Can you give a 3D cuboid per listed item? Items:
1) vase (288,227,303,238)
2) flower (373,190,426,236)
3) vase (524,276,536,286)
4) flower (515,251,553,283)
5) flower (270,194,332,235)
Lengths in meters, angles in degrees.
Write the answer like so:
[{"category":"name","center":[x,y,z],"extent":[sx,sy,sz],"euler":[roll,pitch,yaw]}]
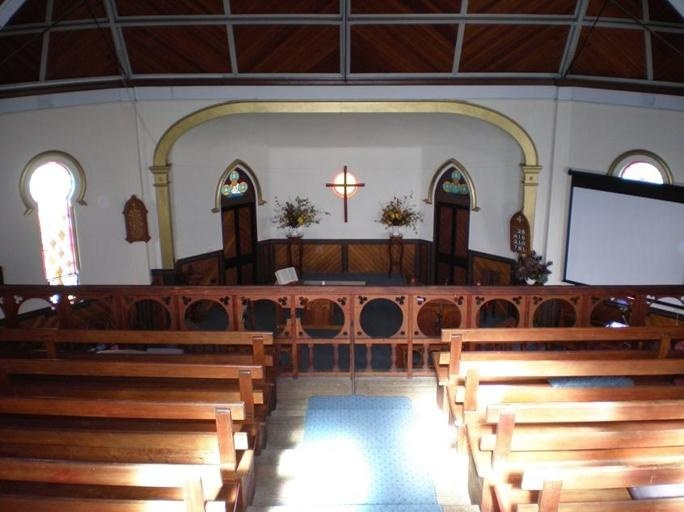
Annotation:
[{"category":"vase","center":[-1.115,-0.579,12.868],"extent":[0.387,0.255,0.651],"euler":[0,2,-3]},{"category":"flower","center":[1.394,-1.068,13.034],"extent":[0.901,0.993,0.942],"euler":[-2,9,-22]},{"category":"vase","center":[3.301,0.440,9.458],"extent":[0.198,0.168,0.213],"euler":[-4,15,0]},{"category":"flower","center":[3.290,0.202,9.378],"extent":[0.539,0.539,0.584],"euler":[3,13,2]},{"category":"flower","center":[-1.034,-1.007,12.899],"extent":[0.994,0.803,1.015],"euler":[1,8,-17]}]
